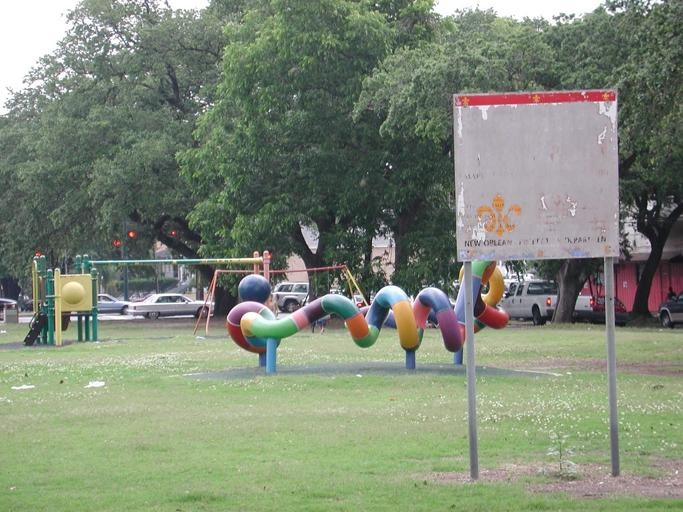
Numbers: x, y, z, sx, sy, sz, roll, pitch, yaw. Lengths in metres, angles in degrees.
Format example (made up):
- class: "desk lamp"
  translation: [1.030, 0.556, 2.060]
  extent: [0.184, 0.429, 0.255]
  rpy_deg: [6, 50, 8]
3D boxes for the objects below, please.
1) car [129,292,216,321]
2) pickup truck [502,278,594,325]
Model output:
- class: "car"
  translation: [-8.759, 2.736, 66.996]
  extent: [3.784, 1.399, 3.426]
  rpy_deg: [-4, 10, -12]
- class: "pickup truck"
  translation: [8.995, 2.013, 57.351]
  extent: [2.106, 1.684, 4.151]
  rpy_deg: [0, 1, -26]
